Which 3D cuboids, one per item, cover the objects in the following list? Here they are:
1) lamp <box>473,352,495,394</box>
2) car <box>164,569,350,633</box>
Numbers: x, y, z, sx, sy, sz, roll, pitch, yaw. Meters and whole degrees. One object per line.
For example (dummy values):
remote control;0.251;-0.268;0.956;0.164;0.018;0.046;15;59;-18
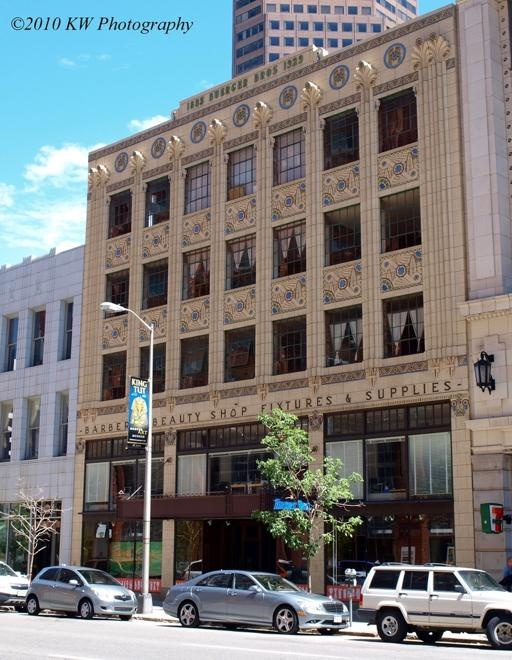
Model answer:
lamp;6.756;1.248;25.894;0.538;1.224;0.609;-11;-18;34
car;-0.119;6.534;20.806;3.944;1.437;1.440;-11;-18;30
